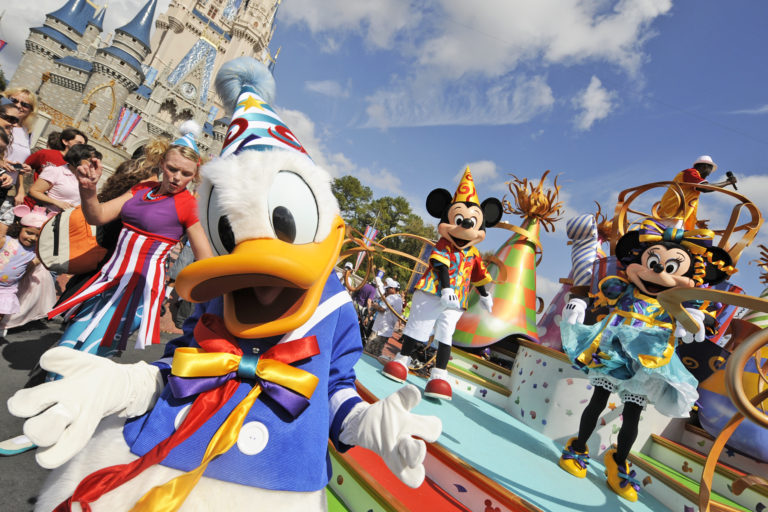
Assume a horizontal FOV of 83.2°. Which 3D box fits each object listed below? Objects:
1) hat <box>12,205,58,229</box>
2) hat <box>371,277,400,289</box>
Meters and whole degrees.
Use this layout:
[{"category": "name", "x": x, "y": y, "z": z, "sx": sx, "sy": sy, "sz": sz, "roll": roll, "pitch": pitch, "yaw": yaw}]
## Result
[{"category": "hat", "x": -3.805, "y": -0.413, "z": 4.689, "sx": 0.155, "sy": 0.231, "sz": 0.307, "roll": -29, "pitch": -25, "yaw": 35}, {"category": "hat", "x": 0.070, "y": 0.853, "z": 11.721, "sx": 0.629, "sy": 0.384, "sz": 0.899, "roll": -1, "pitch": -11, "yaw": 22}]
